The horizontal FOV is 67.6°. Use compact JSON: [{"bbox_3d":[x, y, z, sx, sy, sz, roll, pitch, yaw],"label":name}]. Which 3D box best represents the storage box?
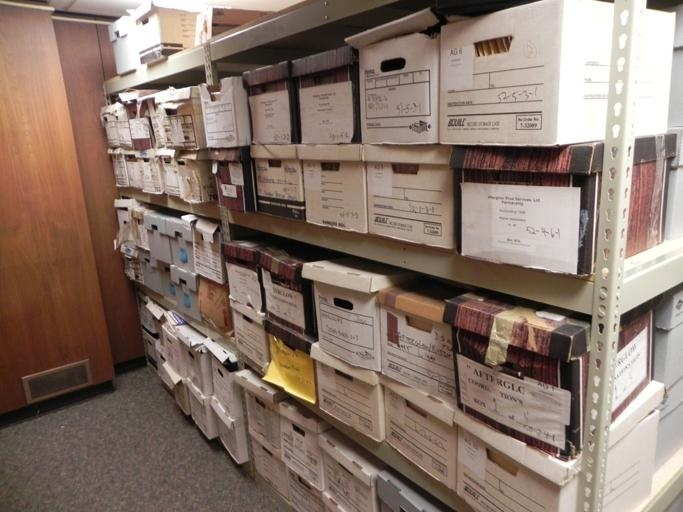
[{"bbox_3d":[0.214,-0.073,1.675,0.562,1.415,1.566,-16,22,-36],"label":"storage box"}]
